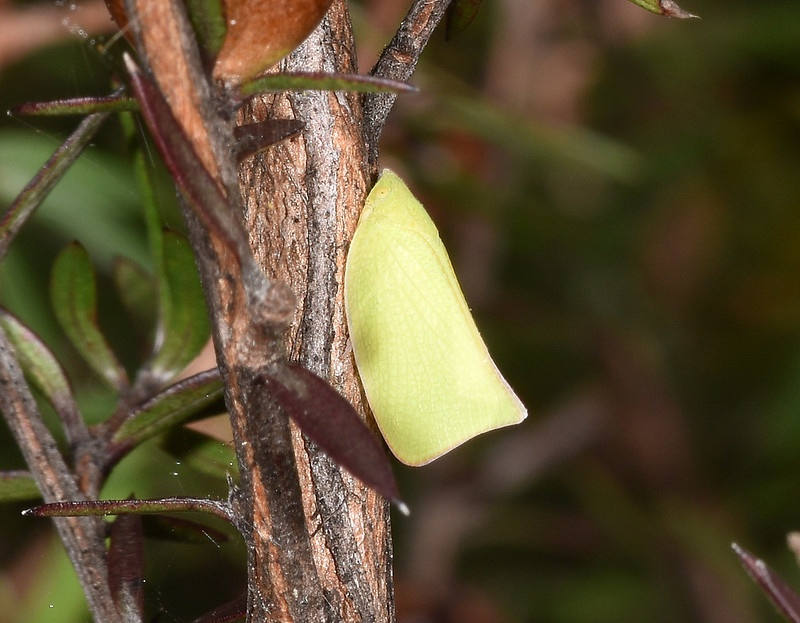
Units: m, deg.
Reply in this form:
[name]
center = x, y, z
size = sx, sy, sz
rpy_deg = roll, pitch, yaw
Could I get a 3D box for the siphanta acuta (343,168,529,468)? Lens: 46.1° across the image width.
[siphanta acuta]
center = 0.030, 0.006, 0.798
size = 0.155, 0.065, 0.229
rpy_deg = -5, 66, -44
